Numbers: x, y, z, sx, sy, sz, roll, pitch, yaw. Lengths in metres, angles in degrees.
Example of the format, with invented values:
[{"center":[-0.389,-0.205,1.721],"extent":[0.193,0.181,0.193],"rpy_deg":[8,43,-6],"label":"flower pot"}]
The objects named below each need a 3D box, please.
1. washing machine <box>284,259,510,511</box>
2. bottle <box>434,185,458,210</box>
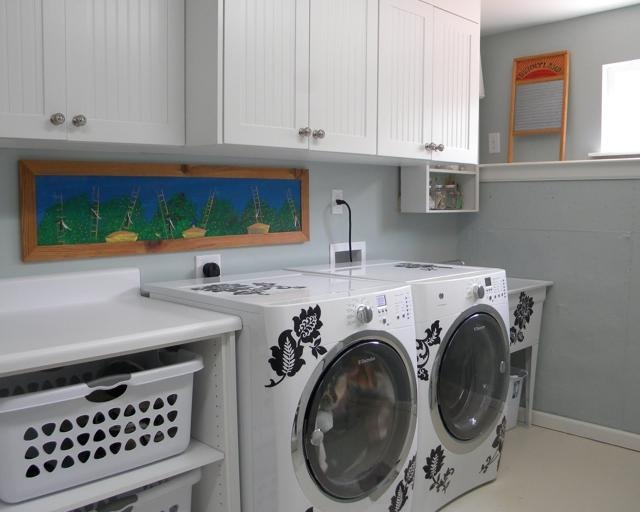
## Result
[{"center":[0.591,0.571,2.717],"extent":[0.958,1.423,1.070],"rpy_deg":[-6,5,-44],"label":"washing machine"},{"center":[0.840,-0.400,3.063],"extent":[0.097,0.128,0.181],"rpy_deg":[3,8,39],"label":"bottle"}]
